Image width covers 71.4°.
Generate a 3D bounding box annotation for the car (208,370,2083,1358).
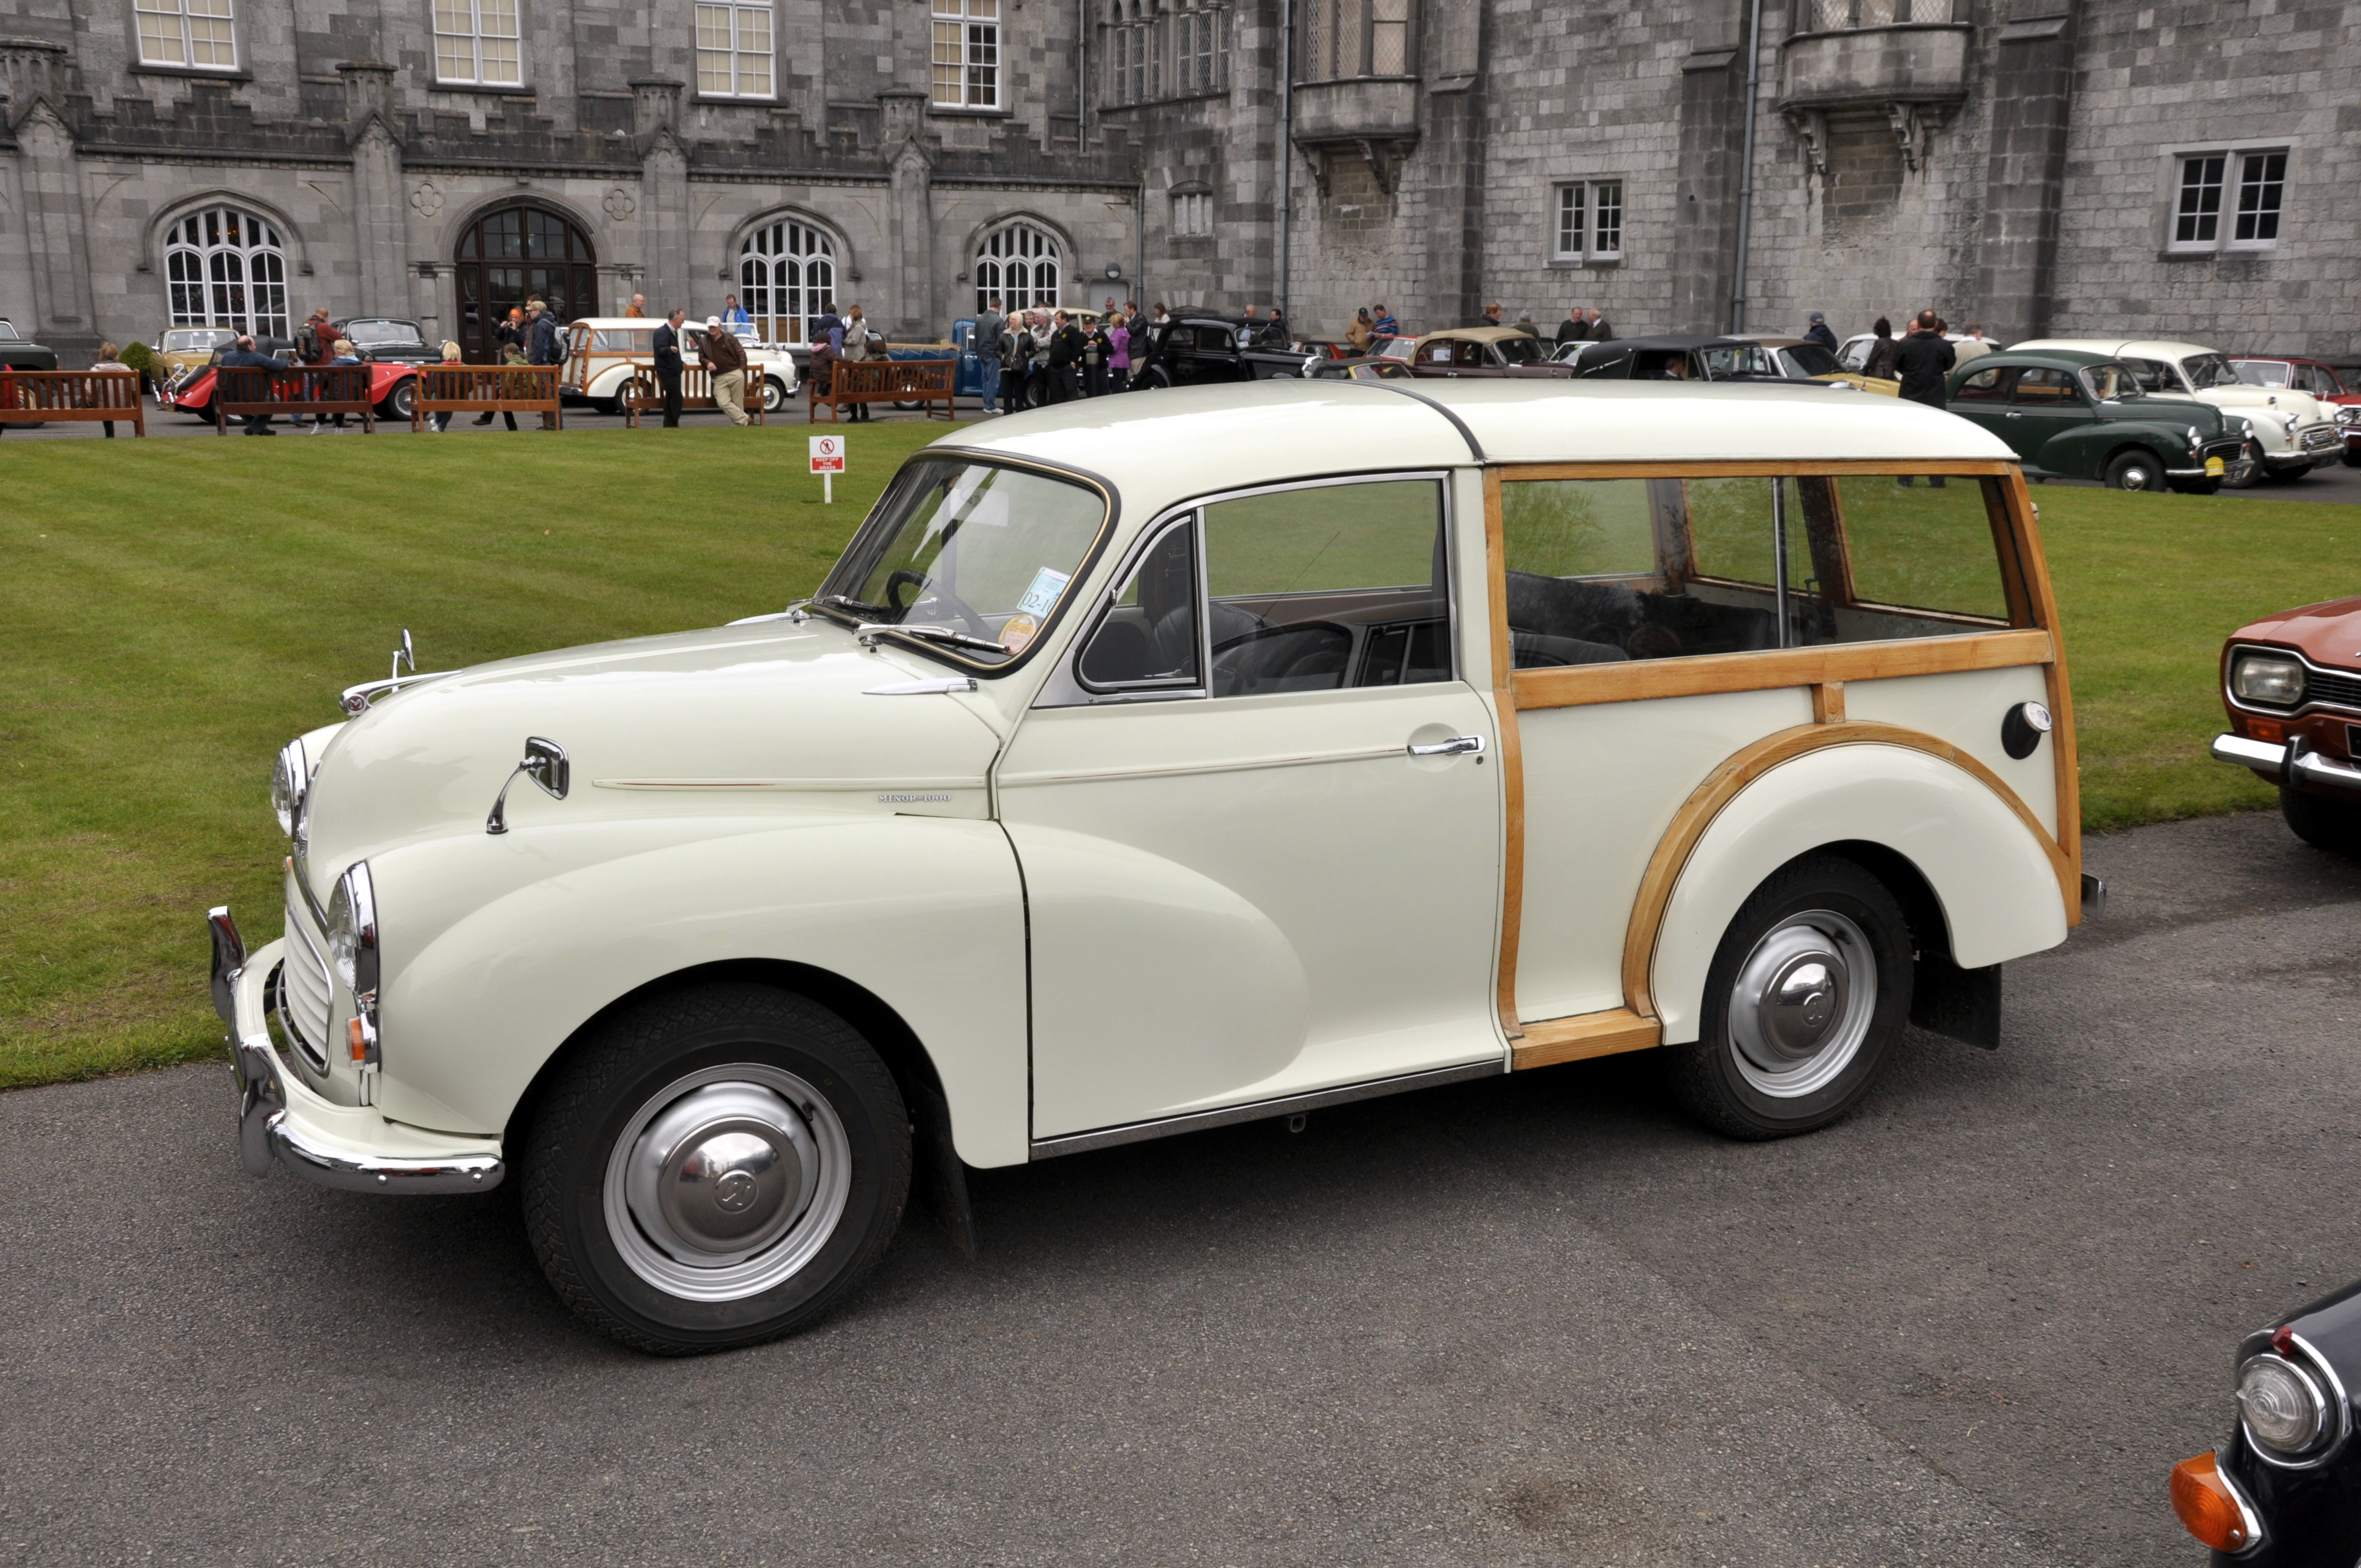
[{"bbox_3d":[0.100,0.096,5.335,5.775,2.666,0.934,-6,14,-18],"label":"car"}]
